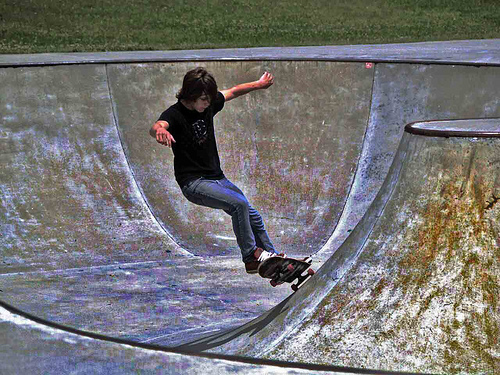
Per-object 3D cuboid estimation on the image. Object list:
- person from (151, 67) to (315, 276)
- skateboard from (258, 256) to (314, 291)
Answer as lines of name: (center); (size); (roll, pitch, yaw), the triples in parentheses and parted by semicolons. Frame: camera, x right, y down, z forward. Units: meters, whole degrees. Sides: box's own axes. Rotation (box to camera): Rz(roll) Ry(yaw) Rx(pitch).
person: (-0.414, -0.170, 9.210); (1.261, 2.169, 1.033); (-3, 7, -24)
skateboard: (0.400, 0.876, 9.160); (0.506, 0.118, 0.354); (15, -43, -22)
